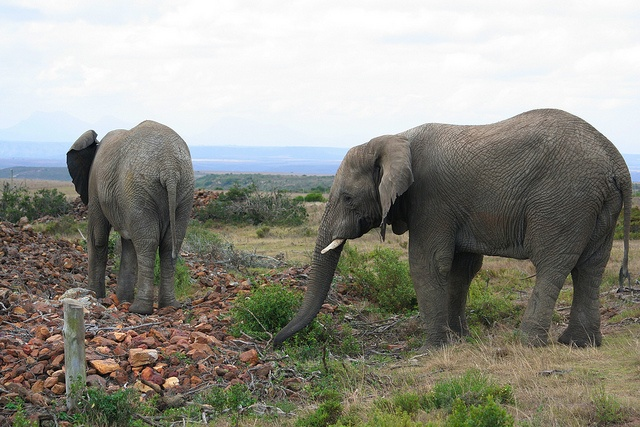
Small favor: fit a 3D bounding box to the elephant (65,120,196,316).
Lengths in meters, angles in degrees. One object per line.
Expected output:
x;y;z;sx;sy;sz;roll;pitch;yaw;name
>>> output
-4.209;0.103;13.120;2.610;3.710;4.783;3;-4;-37;elephant
